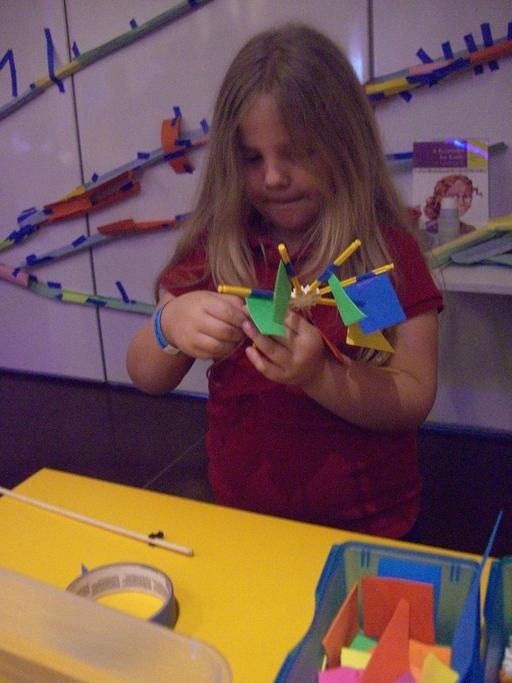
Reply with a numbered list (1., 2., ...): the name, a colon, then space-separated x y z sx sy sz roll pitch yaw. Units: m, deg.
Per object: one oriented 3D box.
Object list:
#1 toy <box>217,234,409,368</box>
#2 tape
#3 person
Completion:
1. toy: 0.051 -0.031 0.414 0.118 0.067 0.117 -3 3 13
2. tape: -0.089 0.190 0.391 0.079 0.038 0.045 5 15 29
3. person: 0.033 0.062 0.892 0.486 0.929 0.448 5 17 28
